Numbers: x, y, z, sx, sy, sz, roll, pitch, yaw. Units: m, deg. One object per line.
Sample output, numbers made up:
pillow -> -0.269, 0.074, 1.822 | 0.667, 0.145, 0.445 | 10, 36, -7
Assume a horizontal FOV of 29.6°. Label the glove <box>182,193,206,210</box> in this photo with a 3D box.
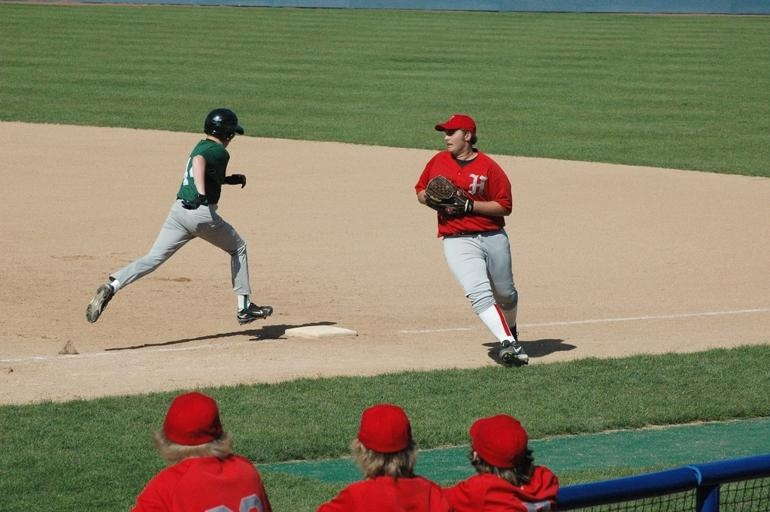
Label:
glove -> -3.572, -1.026, 27.309 | 0.304, 0.169, 0.368 | 2, -12, -25
